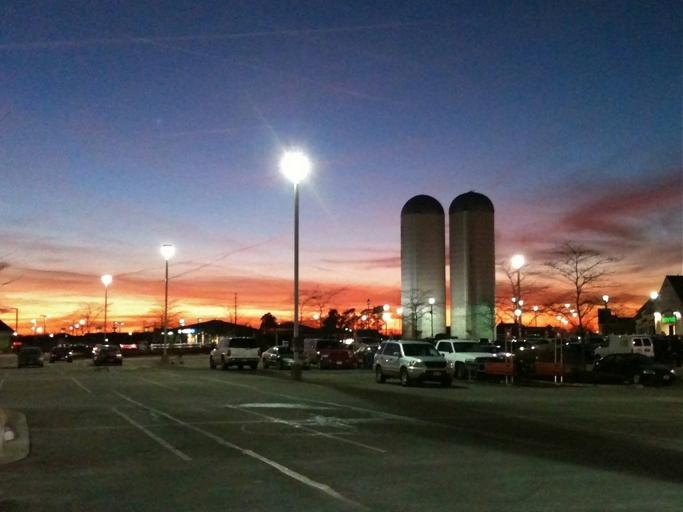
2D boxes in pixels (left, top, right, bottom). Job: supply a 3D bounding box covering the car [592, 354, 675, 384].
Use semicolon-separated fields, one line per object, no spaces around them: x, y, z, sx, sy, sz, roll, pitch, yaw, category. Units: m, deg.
14.145;5.529;32.006;1.510;1.508;4.223;3;-11;-19;car
